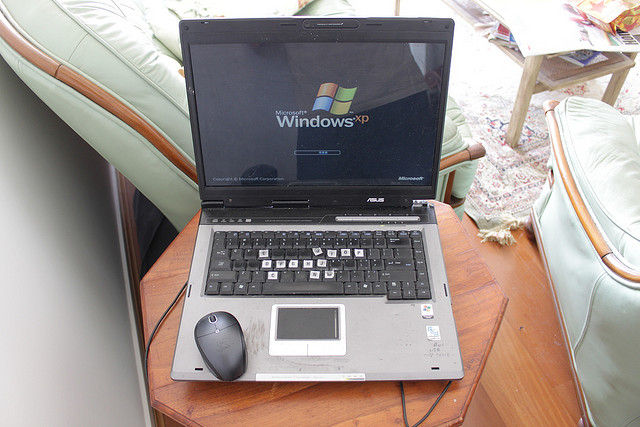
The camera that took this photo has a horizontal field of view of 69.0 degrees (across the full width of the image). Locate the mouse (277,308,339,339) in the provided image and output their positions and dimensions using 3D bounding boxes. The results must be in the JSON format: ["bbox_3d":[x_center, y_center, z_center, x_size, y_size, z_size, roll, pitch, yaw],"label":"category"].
[{"bbox_3d":[-0.029,0.270,1.142,0.143,0.048,0.066,-6,36,4],"label":"mouse"}]

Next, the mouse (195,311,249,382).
[{"bbox_3d":[-0.230,0.316,1.107,0.103,0.104,0.130,-23,39,-18],"label":"mouse"}]
